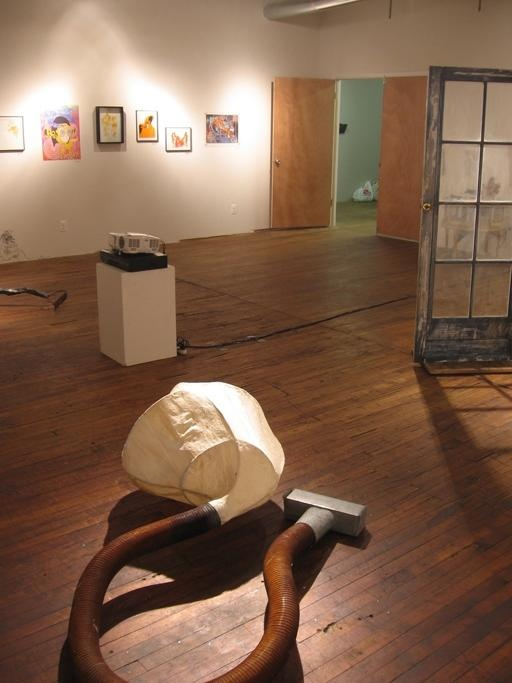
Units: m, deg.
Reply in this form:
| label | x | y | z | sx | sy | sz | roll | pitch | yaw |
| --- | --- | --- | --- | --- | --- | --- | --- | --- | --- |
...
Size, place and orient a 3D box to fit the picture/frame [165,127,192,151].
| label | x | y | z | sx | sy | sz | roll | pitch | yaw |
| --- | --- | --- | --- | --- | --- | --- | --- | --- | --- |
| picture/frame | -1.365 | -3.537 | 8.915 | 0.458 | 0.332 | 0.030 | -16 | 22 | -41 |

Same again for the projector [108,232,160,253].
| label | x | y | z | sx | sy | sz | roll | pitch | yaw |
| --- | --- | --- | --- | --- | --- | --- | --- | --- | --- |
| projector | -0.975 | -0.805 | 4.181 | 0.284 | 0.116 | 0.251 | -6 | 18 | -23 |
